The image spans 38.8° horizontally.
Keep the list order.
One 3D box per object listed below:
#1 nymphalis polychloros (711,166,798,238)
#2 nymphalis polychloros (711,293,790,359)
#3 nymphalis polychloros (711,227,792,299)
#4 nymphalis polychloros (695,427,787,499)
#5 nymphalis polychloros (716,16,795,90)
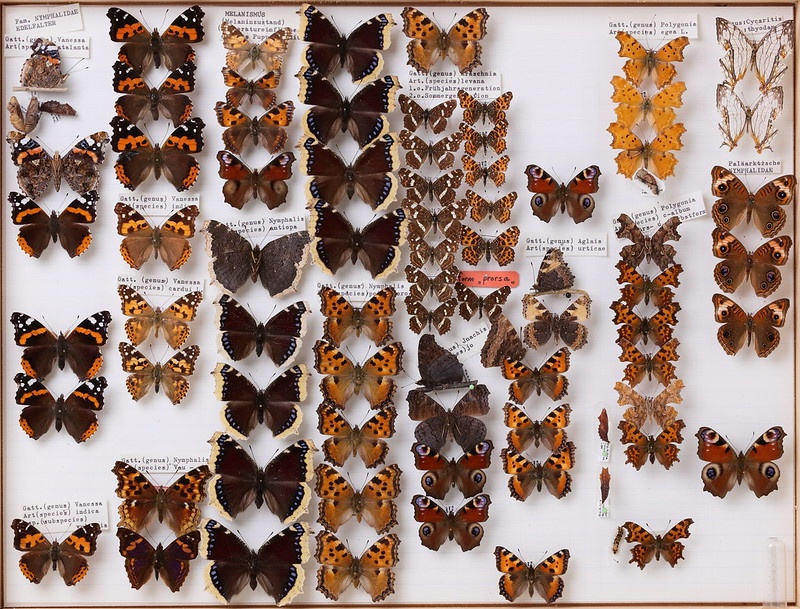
[{"bbox_3d":[1.488,-0.423,4.791,0.265,0.229,0.072,1,-5,-3],"label":"nymphalis polychloros"},{"bbox_3d":[1.474,0.099,4.793,0.244,0.236,0.043,1,-1,-2],"label":"nymphalis polychloros"},{"bbox_3d":[1.470,-0.179,4.791,0.264,0.257,0.056,0,-2,-3],"label":"nymphalis polychloros"},{"bbox_3d":[1.422,0.673,4.769,0.267,0.252,0.030,0,-5,-1],"label":"nymphalis polychloros"},{"bbox_3d":[1.505,-1.069,4.811,0.275,0.281,0.067,1,-1,1],"label":"nymphalis polychloros"}]
